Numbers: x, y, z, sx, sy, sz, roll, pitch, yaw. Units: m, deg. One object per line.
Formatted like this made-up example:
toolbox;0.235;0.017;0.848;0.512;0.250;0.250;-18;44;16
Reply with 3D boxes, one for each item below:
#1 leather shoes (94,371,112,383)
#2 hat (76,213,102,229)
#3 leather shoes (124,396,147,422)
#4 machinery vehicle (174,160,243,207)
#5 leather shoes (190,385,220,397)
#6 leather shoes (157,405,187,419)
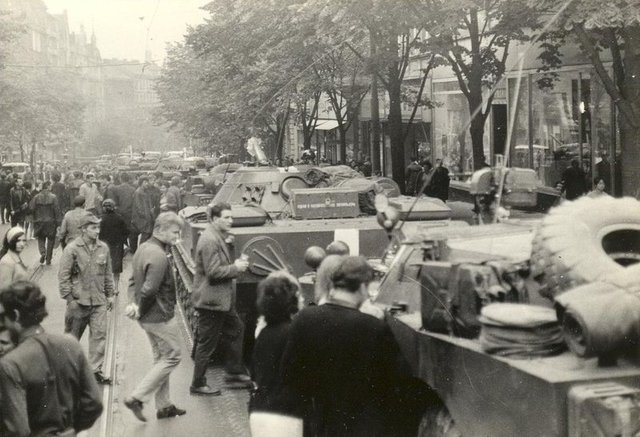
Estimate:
leather shoes;-2.677;1.990;9.211;0.287;0.139;0.112;6;6;4
hat;-2.941;0.031;9.154;0.249;0.123;0.198;-10;-3;19
leather shoes;-2.019;2.077;8.009;0.134;0.303;0.109;-34;17;-2
machinery vehicle;-3.578;-1.030;22.764;2.875;1.563;1.753;-1;3;-9
leather shoes;-1.396;2.082;8.861;0.323;0.149;0.143;1;-3;-4
leather shoes;-1.677;2.169;8.296;0.337;0.162;0.130;-1;1;-20
